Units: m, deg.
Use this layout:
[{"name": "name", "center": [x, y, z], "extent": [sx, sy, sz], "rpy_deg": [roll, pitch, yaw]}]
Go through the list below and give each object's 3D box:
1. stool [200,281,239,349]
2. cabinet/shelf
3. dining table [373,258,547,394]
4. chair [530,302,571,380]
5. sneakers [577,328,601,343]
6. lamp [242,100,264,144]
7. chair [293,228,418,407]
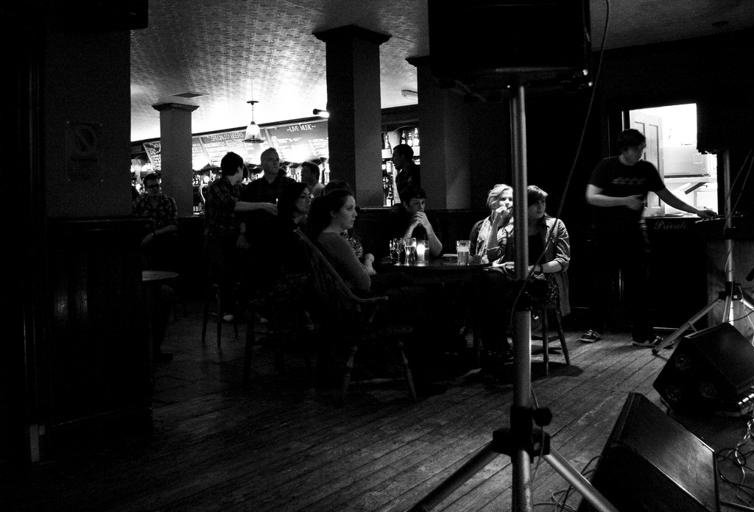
[{"name": "stool", "center": [-1.642, 0.617, 6.298], "extent": [0.429, 0.545, 0.410], "rpy_deg": [-2, 3, 2]}, {"name": "cabinet/shelf", "center": [-1.774, 0.464, 3.751], "extent": [0.772, 1.382, 0.325], "rpy_deg": [-7, 10, -34]}, {"name": "dining table", "center": [0.544, 0.569, 5.083], "extent": [1.059, 0.663, 1.070], "rpy_deg": [1, -4, -5]}, {"name": "chair", "center": [1.370, 0.654, 5.074], "extent": [0.395, 0.473, 0.378], "rpy_deg": [2, -5, -27]}, {"name": "sneakers", "center": [2.148, 0.813, 6.140], "extent": [0.281, 0.104, 0.100], "rpy_deg": [10, -12, -42]}, {"name": "lamp", "center": [-2.295, -2.489, 11.276], "extent": [0.611, 0.705, 0.589], "rpy_deg": [0, 11, -9]}, {"name": "chair", "center": [-0.251, 0.396, 4.480], "extent": [0.700, 1.225, 0.956], "rpy_deg": [-5, 9, -24]}]
